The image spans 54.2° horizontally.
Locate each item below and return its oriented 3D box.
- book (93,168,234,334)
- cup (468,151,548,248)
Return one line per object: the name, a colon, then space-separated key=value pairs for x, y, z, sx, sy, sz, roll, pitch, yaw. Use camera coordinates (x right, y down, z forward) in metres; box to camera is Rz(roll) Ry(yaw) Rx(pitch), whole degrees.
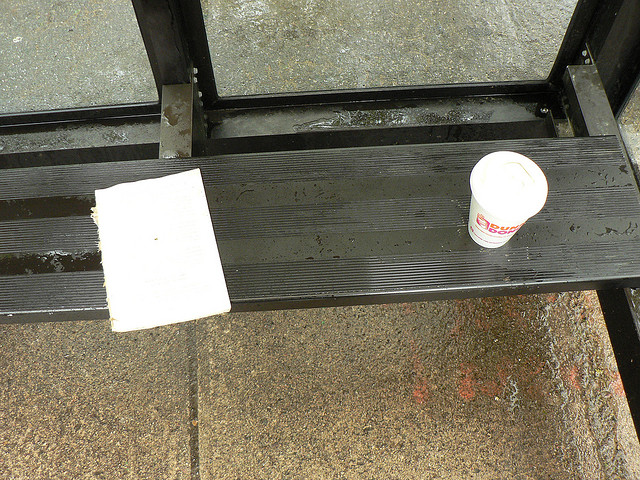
book: x=-0.524 y=0.035 z=2.052 sx=0.445 sy=0.131 sz=0.504 roll=-14 pitch=80 yaw=-7
cup: x=0.538 y=-0.118 z=2.081 sx=0.281 sy=0.370 sz=0.276 roll=-1 pitch=76 yaw=2
